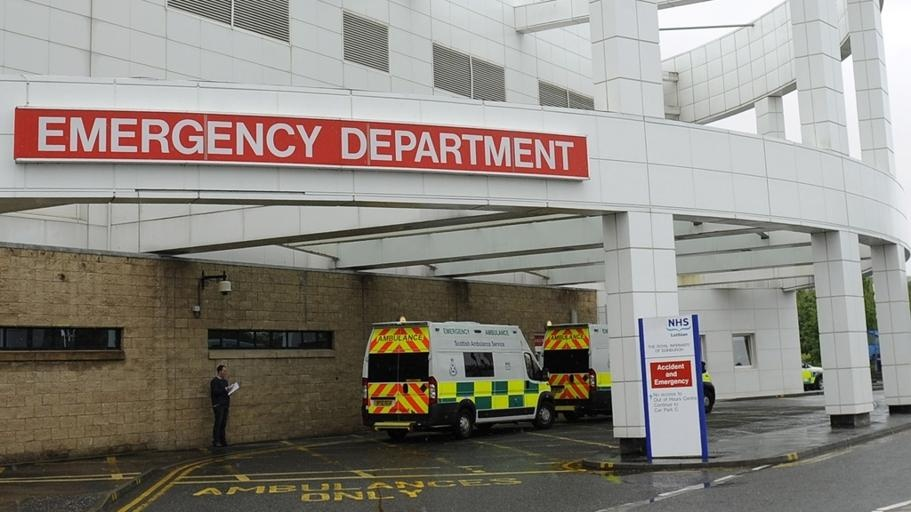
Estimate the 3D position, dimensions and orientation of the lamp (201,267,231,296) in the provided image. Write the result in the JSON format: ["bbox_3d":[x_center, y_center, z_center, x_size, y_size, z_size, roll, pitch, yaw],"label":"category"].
[{"bbox_3d":[-8.633,0.854,37.510,0.948,0.848,0.872,-1,-4,12],"label":"lamp"}]

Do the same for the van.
[{"bbox_3d":[0.156,4.306,37.511,6.512,4.105,2.146,-1,11,-25],"label":"van"}]

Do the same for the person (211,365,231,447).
[{"bbox_3d":[-8.288,5.305,36.991,0.680,2.802,1.311,2,10,-12],"label":"person"}]

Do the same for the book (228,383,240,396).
[{"bbox_3d":[-7.822,4.702,37.016,0.501,0.163,0.474,-12,5,0],"label":"book"}]
